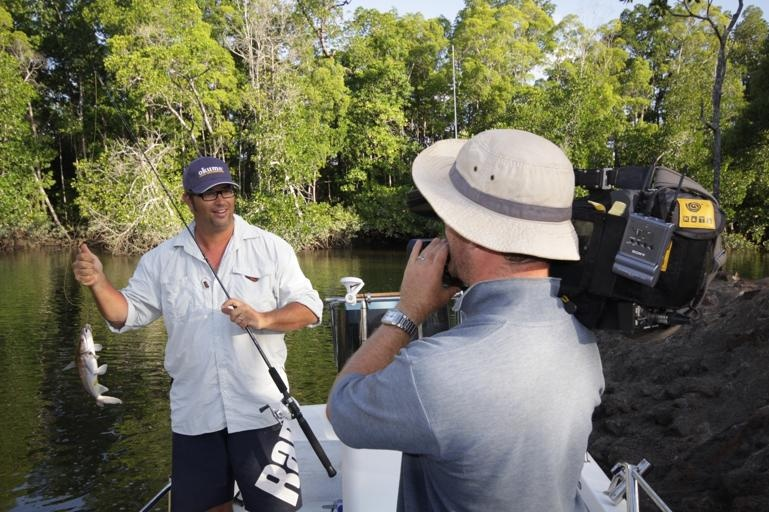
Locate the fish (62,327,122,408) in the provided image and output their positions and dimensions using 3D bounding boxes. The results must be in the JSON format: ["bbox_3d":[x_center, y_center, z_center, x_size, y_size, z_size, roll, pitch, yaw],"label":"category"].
[{"bbox_3d":[-4.264,1.668,10.391,0.796,1.536,0.576,-5,2,-10],"label":"fish"}]

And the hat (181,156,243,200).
[{"bbox_3d":[-1.766,-0.817,7.062,0.485,0.412,0.658,-6,13,-21],"label":"hat"}]
